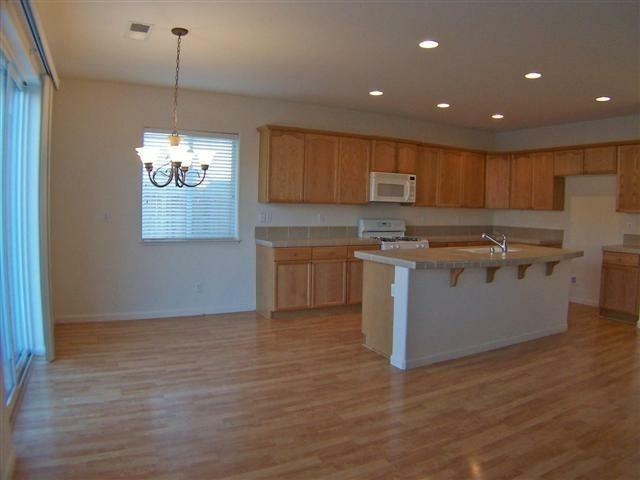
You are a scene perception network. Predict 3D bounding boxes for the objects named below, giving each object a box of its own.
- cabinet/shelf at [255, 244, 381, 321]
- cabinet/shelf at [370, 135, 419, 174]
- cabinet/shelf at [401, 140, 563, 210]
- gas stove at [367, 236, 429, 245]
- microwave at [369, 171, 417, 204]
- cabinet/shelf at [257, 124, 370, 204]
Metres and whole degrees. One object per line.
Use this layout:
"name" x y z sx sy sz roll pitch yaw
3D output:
"cabinet/shelf" -0.101 0.475 6.313 1.373 0.998 0.520 -3 12 -18
"cabinet/shelf" 1.200 -1.254 7.060 0.264 0.501 0.809 -21 27 -39
"cabinet/shelf" 2.680 -1.004 7.656 2.311 0.999 0.761 1 11 -1
"gas stove" 1.112 -0.010 6.875 0.904 0.083 0.403 -4 12 -27
"microwave" 1.047 -0.767 7.083 0.697 0.419 0.455 1 2 -18
"cabinet/shelf" -0.138 -1.010 6.384 1.165 0.675 0.223 0 2 -29
